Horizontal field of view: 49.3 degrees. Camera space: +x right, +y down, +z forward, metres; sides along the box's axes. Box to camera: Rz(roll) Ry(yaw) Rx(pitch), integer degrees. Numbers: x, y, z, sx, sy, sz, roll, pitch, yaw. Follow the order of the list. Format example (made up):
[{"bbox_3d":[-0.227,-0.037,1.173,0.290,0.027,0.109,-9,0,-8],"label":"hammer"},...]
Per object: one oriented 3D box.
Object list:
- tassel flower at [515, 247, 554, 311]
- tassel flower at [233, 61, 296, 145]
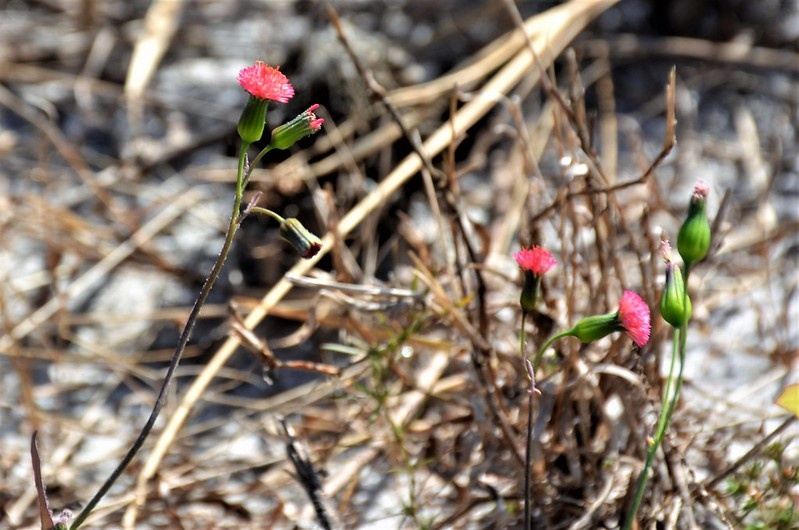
[{"bbox_3d":[0.313,0.042,2.047,0.098,0.173,0.101,8,6,3],"label":"tassel flower"},{"bbox_3d":[-0.335,-0.360,2.032,0.136,0.185,0.157,14,12,-18],"label":"tassel flower"}]
